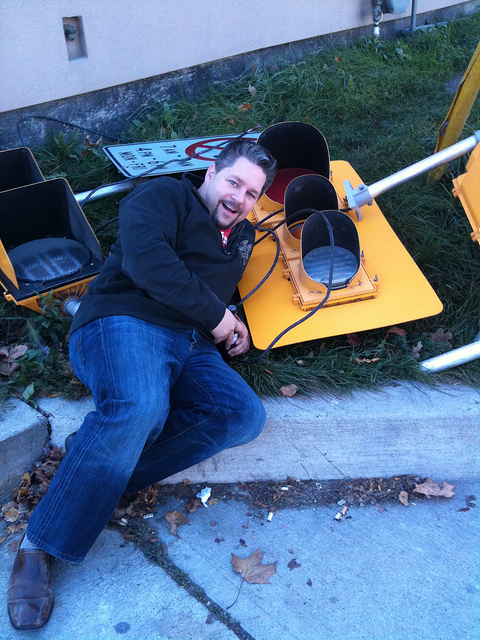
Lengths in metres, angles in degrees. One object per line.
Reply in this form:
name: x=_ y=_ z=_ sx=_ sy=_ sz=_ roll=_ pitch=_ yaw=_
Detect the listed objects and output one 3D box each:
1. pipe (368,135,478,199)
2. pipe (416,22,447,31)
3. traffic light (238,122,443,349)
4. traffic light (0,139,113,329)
pipe: x=0.837 y=-0.731 z=2.361 sx=0.468 sy=0.281 sz=0.576 roll=23 pitch=38 yaw=35
pipe: x=1.992 y=-3.074 z=5.211 sx=0.299 sy=0.045 sz=0.502 roll=6 pitch=35 yaw=16
traffic light: x=0.386 y=-0.253 z=2.371 sx=0.825 sy=0.417 sz=1.135 roll=-15 pitch=55 yaw=-3
traffic light: x=-0.855 y=-0.382 z=2.323 sx=0.421 sy=0.410 sz=1.108 roll=-16 pitch=58 yaw=-29
